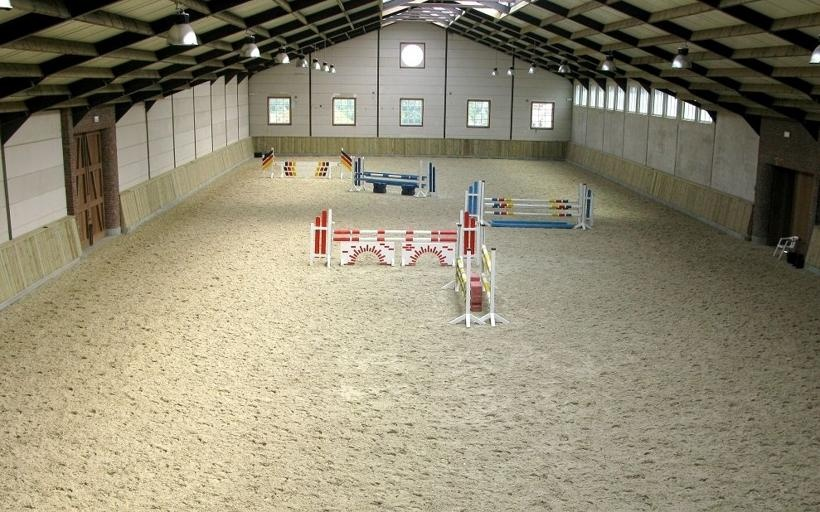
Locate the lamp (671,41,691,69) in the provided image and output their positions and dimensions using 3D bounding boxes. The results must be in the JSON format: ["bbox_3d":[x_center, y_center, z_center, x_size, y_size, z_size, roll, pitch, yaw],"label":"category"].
[{"bbox_3d":[5.358,-3.911,10.684,0.277,0.436,0.912,8,15,24],"label":"lamp"}]
